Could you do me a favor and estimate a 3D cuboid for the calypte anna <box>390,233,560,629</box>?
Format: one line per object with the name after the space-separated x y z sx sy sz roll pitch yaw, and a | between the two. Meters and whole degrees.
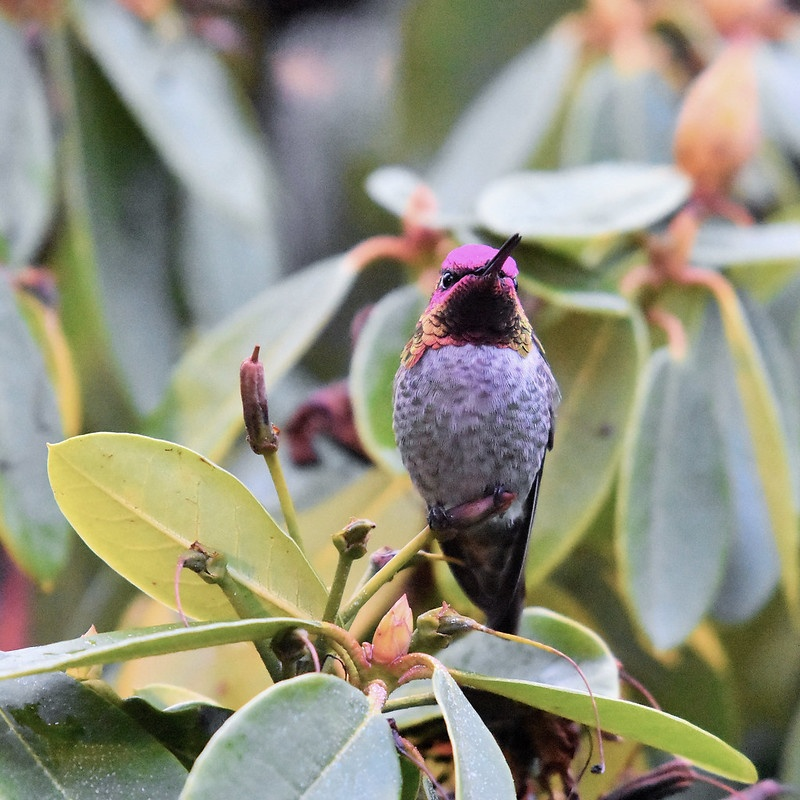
0.083 0.057 1.460 0.146 0.477 0.207 0 44 4 | calypte anna
